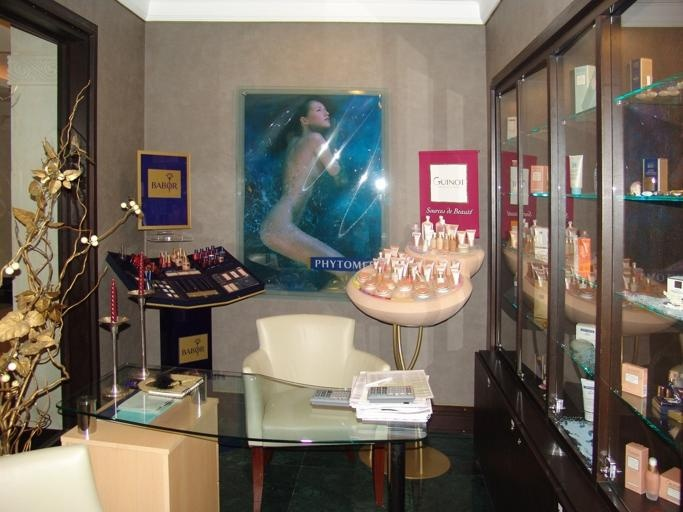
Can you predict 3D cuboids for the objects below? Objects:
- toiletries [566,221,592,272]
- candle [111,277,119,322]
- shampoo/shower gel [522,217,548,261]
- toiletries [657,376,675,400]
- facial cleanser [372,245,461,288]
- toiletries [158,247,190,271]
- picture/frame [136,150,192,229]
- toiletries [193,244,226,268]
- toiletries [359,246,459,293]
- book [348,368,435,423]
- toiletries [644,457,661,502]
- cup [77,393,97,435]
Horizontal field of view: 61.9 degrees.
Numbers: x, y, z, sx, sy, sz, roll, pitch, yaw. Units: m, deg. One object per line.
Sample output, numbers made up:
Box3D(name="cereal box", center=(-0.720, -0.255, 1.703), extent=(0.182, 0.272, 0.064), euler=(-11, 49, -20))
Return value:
Box3D(name="toiletries", center=(1.150, -0.001, 2.786), extent=(0.090, 0.322, 0.074), euler=(-1, -22, 29))
Box3D(name="candle", center=(-1.154, 0.232, 2.900), extent=(0.028, 0.215, 0.091), euler=(-3, 4, -27))
Box3D(name="shampoo/shower gel", center=(1.108, -0.088, 3.248), extent=(0.155, 0.180, 0.155), euler=(0, 2, 9))
Box3D(name="toiletries", center=(1.269, 0.523, 2.225), extent=(0.049, 0.081, 0.062), euler=(-1, 1, -42))
Box3D(name="facial cleanser", center=(0.426, 0.112, 3.718), extent=(0.428, 0.159, 0.265), euler=(2, 13, 18))
Box3D(name="toiletries", center=(-1.294, 0.016, 4.391), extent=(0.161, 0.108, 0.262), euler=(0, 6, -35))
Box3D(name="picture/frame", center=(-1.395, -0.519, 4.456), extent=(0.397, 0.632, 0.073), euler=(0, 2, -3))
Box3D(name="toiletries", center=(-1.039, 0.005, 4.519), extent=(0.223, 0.151, 0.319), euler=(0, 4, 29))
Box3D(name="toiletries", center=(0.469, 0.115, 3.754), extent=(0.732, 0.272, 0.451), euler=(-2, 4, -3))
Box3D(name="book", center=(0.251, 0.716, 2.927), extent=(0.404, 0.193, 0.446), euler=(-1, 4, 6))
Box3D(name="toiletries", center=(1.264, 0.908, 2.317), extent=(0.051, 0.173, 0.025), euler=(0, 4, 26))
Box3D(name="cup", center=(-1.247, 0.787, 2.804), extent=(0.080, 0.182, 0.083), euler=(-2, 3, 0))
